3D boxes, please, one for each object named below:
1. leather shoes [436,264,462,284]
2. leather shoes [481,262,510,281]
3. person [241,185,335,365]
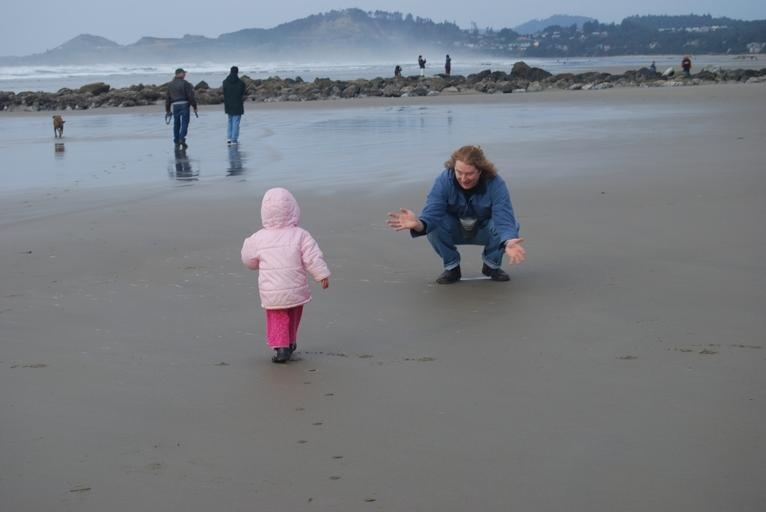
[{"bbox_3d":[0.698,0.226,8.874,0.290,0.204,0.134,1,2,-24],"label":"leather shoes"},{"bbox_3d":[1.185,0.166,8.972,0.358,0.231,0.119,8,17,31],"label":"leather shoes"},{"bbox_3d":[-0.873,0.149,7.466,0.579,1.460,0.513,-10,14,-31],"label":"person"}]
